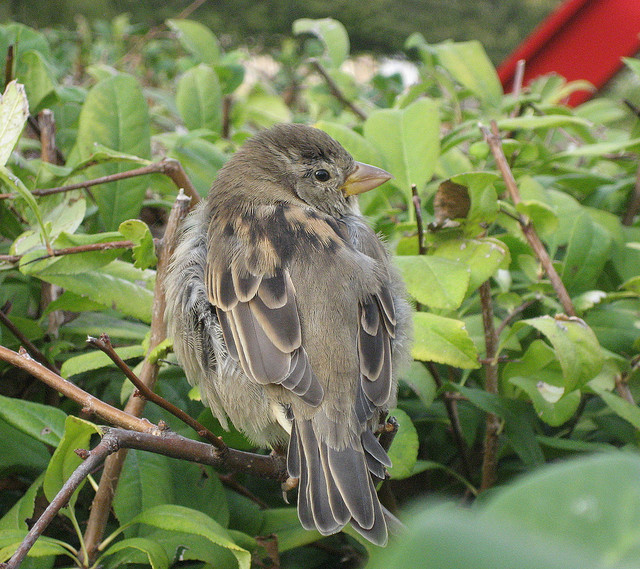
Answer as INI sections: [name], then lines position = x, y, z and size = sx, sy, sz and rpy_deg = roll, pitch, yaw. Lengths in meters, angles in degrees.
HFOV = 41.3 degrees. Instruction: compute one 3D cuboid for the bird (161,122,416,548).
[bird]
position = -0.112, 0.105, 3.016
size = 0.862, 0.862, 1.604
rpy_deg = -9, 29, 6
